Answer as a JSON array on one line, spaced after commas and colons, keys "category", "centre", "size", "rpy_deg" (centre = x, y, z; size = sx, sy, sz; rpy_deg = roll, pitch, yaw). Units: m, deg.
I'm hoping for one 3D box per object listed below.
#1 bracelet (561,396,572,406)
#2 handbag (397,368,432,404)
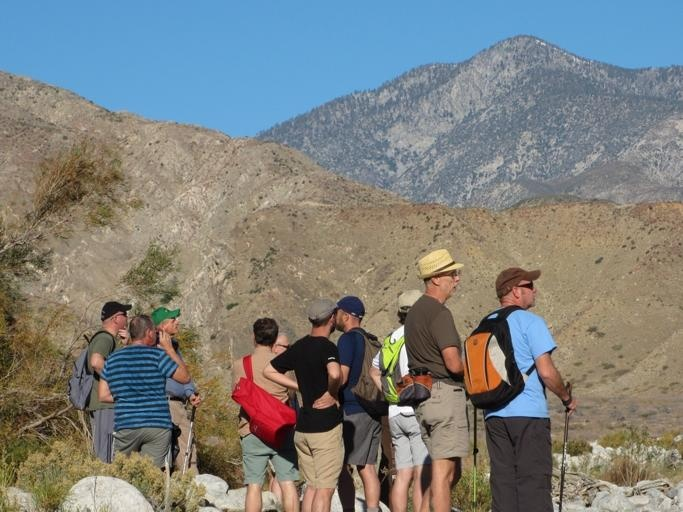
[{"category": "bracelet", "centre": [10.220, 6.763, 55.401], "size": [0.293, 0.316, 0.362], "rpy_deg": [4, 22, 33]}, {"category": "handbag", "centre": [3.291, 6.158, 55.903], "size": [1.455, 1.658, 0.812], "rpy_deg": [-6, -12, 25]}]
